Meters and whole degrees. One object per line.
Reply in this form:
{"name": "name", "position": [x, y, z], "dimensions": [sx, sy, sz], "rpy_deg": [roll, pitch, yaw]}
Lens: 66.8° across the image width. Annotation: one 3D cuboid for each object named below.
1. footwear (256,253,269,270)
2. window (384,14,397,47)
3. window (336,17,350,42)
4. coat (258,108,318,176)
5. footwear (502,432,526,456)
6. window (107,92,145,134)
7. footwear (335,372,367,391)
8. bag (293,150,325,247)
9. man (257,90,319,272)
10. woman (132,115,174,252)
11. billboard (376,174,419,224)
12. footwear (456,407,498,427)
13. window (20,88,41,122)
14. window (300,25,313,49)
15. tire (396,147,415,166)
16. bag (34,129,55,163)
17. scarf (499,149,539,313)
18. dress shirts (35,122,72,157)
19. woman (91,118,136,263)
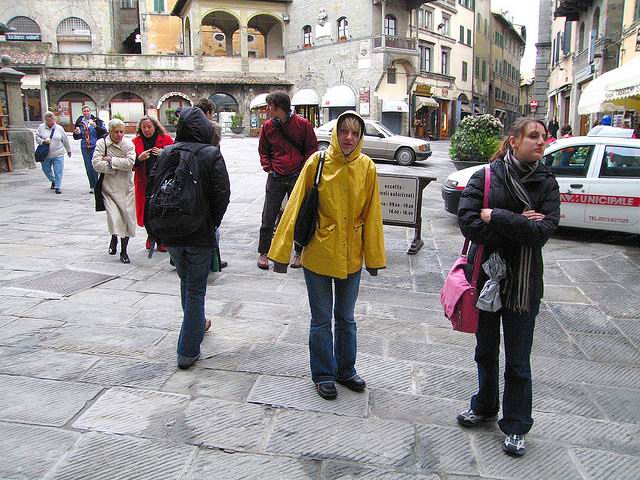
{"name": "footwear", "position": [-0.762, 0.298, 6.519], "dimensions": [0.177, 0.194, 0.477], "rpy_deg": [-1, 2, -16]}
{"name": "window", "position": [4.916, -14.462, 33.642], "dimensions": [0.828, 2.333, 2.070], "rpy_deg": [1, 13, 8]}
{"name": "window", "position": [1.598, -14.893, 34.332], "dimensions": [0.299, 1.653, 1.162], "rpy_deg": [-10, 16, -34]}
{"name": "coat", "position": [-0.414, -1.272, 6.393], "dimensions": [0.835, 0.805, 0.461], "rpy_deg": [1, 23, 12]}
{"name": "footwear", "position": [1.259, 1.331, 3.144], "dimensions": [0.081, 0.087, 0.200], "rpy_deg": [2, -12, 20]}
{"name": "window", "position": [-14.565, -9.836, 37.028], "dimensions": [2.486, 3.171, 0.294], "rpy_deg": [-5, -30, -20]}
{"name": "footwear", "position": [0.242, 1.118, 3.851], "dimensions": [0.237, 0.100, 0.088], "rpy_deg": [4, 6, 41]}
{"name": "bag", "position": [-0.065, -0.299, 3.634], "dimensions": [0.275, 0.681, 0.104], "rpy_deg": [-13, 18, -42]}
{"name": "man", "position": [-0.448, -0.771, 6.403], "dimensions": [0.856, 2.244, 0.719], "rpy_deg": [0, 11, 3]}
{"name": "woman", "position": [-2.358, -0.781, 6.922], "dimensions": [0.687, 1.858, 0.651], "rpy_deg": [-5, 20, -18]}
{"name": "billboard", "position": [1.155, -0.602, 7.017], "dimensions": [0.881, 0.771, 0.089], "rpy_deg": [2, 10, 16]}
{"name": "footwear", "position": [1.146, 1.265, 3.489], "dimensions": [0.303, 0.134, 0.115], "rpy_deg": [1, 12, -5]}
{"name": "window", "position": [-21.050, -9.831, 35.575], "dimensions": [1.165, 2.183, 0.960], "rpy_deg": [-7, 15, -24]}
{"name": "window", "position": [-0.961, -15.340, 36.624], "dimensions": [0.374, 1.621, 1.016], "rpy_deg": [-9, 15, -30]}
{"name": "tire", "position": [3.144, -3.095, 17.931], "dimensions": [0.804, 0.633, 0.300], "rpy_deg": [5, 15, 25]}
{"name": "bag", "position": [-6.428, -2.210, 11.373], "dimensions": [0.479, 0.742, 0.275], "rpy_deg": [-8, 15, -28]}
{"name": "scarf", "position": [1.265, -0.062, 3.128], "dimensions": [0.210, 1.006, 0.339], "rpy_deg": [4, 14, 21]}
{"name": "dress shirts", "position": [-6.333, -2.392, 11.577], "dimensions": [0.818, 0.732, 0.415], "rpy_deg": [-4, 28, -37]}
{"name": "woman", "position": [-2.757, -0.671, 6.586], "dimensions": [0.517, 1.877, 0.588], "rpy_deg": [-1, 13, -1]}
